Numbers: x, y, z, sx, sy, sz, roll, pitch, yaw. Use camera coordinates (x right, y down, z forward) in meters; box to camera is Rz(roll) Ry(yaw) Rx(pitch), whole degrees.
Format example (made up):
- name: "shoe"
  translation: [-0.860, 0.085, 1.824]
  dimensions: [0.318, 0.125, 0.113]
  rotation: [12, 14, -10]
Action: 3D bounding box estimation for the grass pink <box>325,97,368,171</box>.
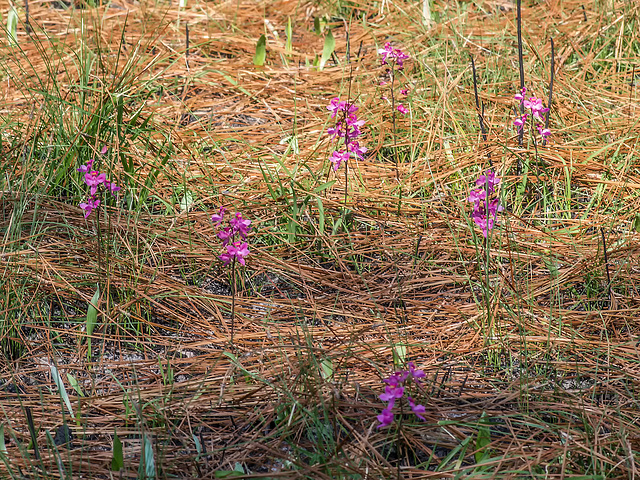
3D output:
- name: "grass pink"
  translation: [0.107, -0.517, 3.252]
  dimensions: [0.192, 0.407, 0.220]
  rotation: [-4, 21, -11]
